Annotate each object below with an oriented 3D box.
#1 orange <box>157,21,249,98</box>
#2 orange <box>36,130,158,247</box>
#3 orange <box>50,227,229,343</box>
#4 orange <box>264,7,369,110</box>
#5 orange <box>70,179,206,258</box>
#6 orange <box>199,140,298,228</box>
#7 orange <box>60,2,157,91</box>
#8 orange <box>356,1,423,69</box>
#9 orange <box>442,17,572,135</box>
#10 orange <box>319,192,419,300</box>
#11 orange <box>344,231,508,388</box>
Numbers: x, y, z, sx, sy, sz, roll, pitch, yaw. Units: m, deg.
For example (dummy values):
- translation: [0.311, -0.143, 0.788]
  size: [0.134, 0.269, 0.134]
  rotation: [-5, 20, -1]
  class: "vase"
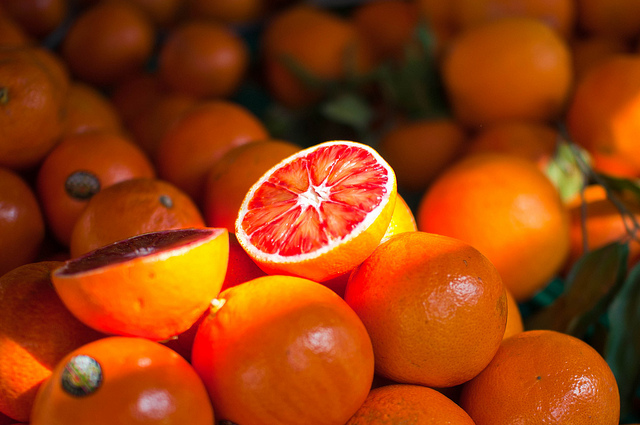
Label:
- translation: [-0.236, -0.275, 1.223]
  size: [0.131, 0.156, 0.141]
  rotation: [-30, 105, -13]
  class: "orange"
- translation: [-0.374, -0.033, 1.115]
  size: [0.172, 0.170, 0.184]
  rotation: [26, 112, -7]
  class: "orange"
- translation: [-0.227, 0.085, 0.800]
  size: [0.157, 0.165, 0.113]
  rotation: [-10, 97, 19]
  class: "orange"
- translation: [0.006, -0.260, 1.227]
  size: [0.178, 0.180, 0.227]
  rotation: [-13, 90, 9]
  class: "orange"
- translation: [-0.277, 0.005, 0.970]
  size: [0.136, 0.137, 0.143]
  rotation: [-6, 110, 9]
  class: "orange"
- translation: [-0.120, -0.059, 1.072]
  size: [0.133, 0.139, 0.173]
  rotation: [-19, 103, 9]
  class: "orange"
- translation: [-0.398, -0.315, 1.173]
  size: [0.188, 0.105, 0.128]
  rotation: [-12, 73, -7]
  class: "orange"
- translation: [0.130, -0.324, 1.114]
  size: [0.102, 0.039, 0.124]
  rotation: [-21, 75, -9]
  class: "orange"
- translation: [0.326, -0.233, 1.090]
  size: [0.221, 0.106, 0.172]
  rotation: [4, 72, -2]
  class: "orange"
- translation: [0.081, 0.037, 0.977]
  size: [0.136, 0.143, 0.174]
  rotation: [-5, 96, 0]
  class: "orange"
- translation: [0.150, 0.127, 0.909]
  size: [0.198, 0.191, 0.207]
  rotation: [17, 98, 26]
  class: "orange"
